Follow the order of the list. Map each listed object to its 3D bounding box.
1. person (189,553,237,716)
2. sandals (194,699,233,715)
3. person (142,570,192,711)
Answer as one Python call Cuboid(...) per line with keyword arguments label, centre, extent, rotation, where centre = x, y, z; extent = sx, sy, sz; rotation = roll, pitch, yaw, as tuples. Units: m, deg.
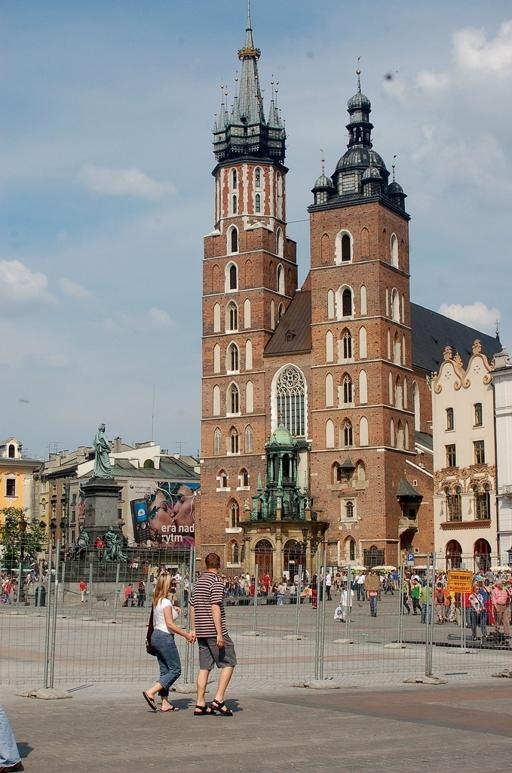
Cuboid(label="person", centre=(-0.454, 2.507, 13.654), extent=(0.456, 1.593, 1.338), rotation=(0, -9, -2))
Cuboid(label="sandals", centre=(-0.443, 3.128, 12.983), extent=(0.321, 0.131, 0.172), rotation=(1, -12, -2))
Cuboid(label="person", centre=(-0.886, 2.573, 13.395), extent=(0.473, 1.350, 0.783), rotation=(0, -9, -3))
